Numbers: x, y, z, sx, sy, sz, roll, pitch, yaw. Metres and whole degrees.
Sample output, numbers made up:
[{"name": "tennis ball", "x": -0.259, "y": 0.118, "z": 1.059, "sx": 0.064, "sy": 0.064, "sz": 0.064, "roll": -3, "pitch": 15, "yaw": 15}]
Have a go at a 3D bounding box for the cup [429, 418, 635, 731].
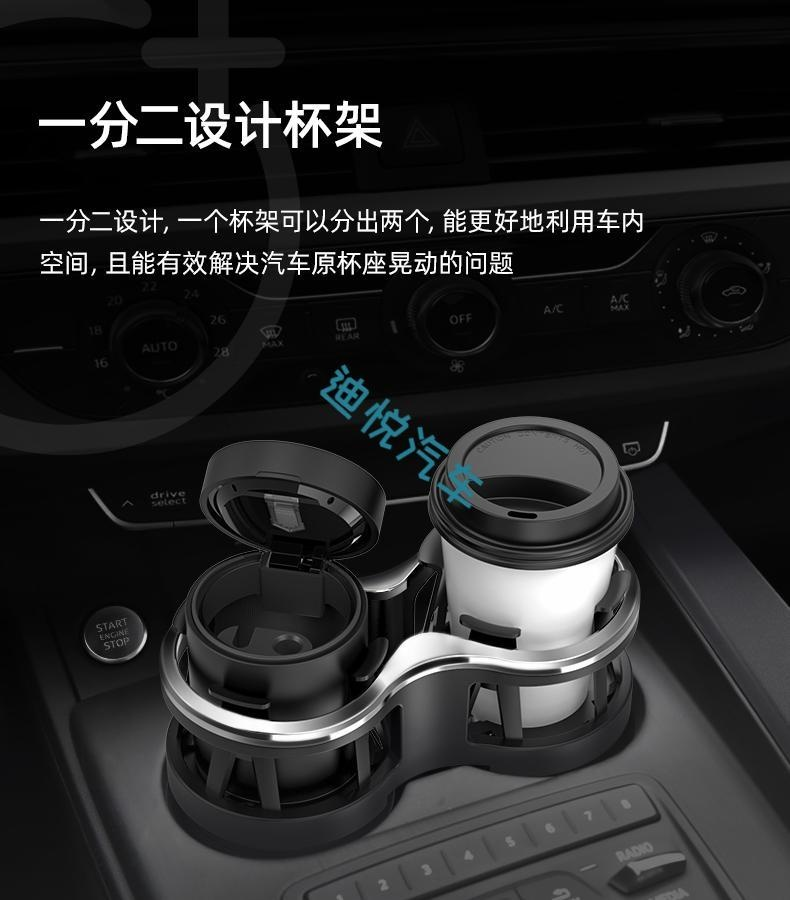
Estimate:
[{"name": "cup", "x": 0.083, "y": 0.079, "z": 0.499, "sx": 0.117, "sy": 0.191, "sz": 0.144, "roll": 13, "pitch": 37, "yaw": 18}]
